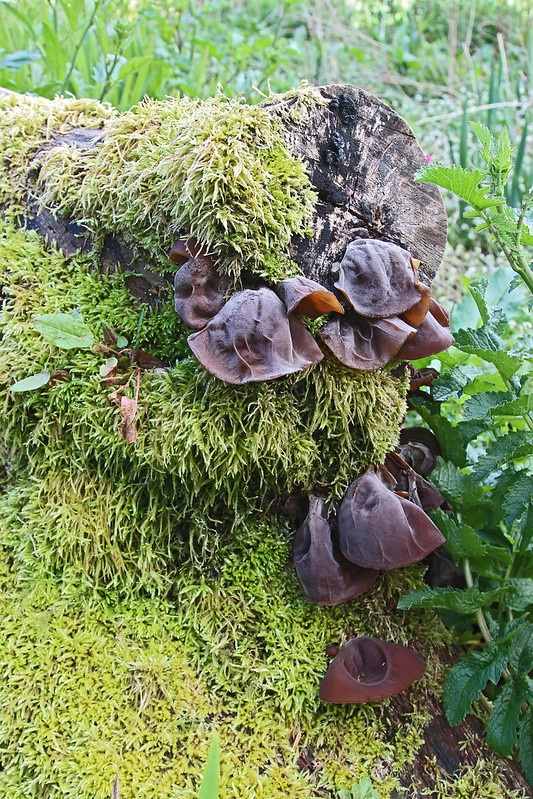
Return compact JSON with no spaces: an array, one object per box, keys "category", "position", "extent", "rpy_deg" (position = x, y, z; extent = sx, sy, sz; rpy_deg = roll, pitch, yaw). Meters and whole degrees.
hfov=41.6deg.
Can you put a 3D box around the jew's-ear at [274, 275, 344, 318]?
[{"category":"jew's-ear","position":[0.126,-0.303,2.091],"extent":[0.072,0.105,0.162],"rpy_deg":[23,8,-34]}]

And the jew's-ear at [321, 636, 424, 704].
[{"category":"jew's-ear","position":[0.318,0.834,2.120],"extent":[0.239,0.104,0.238],"rpy_deg":[20,32,22]}]

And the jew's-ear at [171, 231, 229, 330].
[{"category":"jew's-ear","position":[-0.199,-0.357,2.092],"extent":[0.216,0.249,0.103],"rpy_deg":[-6,14,-24]}]
